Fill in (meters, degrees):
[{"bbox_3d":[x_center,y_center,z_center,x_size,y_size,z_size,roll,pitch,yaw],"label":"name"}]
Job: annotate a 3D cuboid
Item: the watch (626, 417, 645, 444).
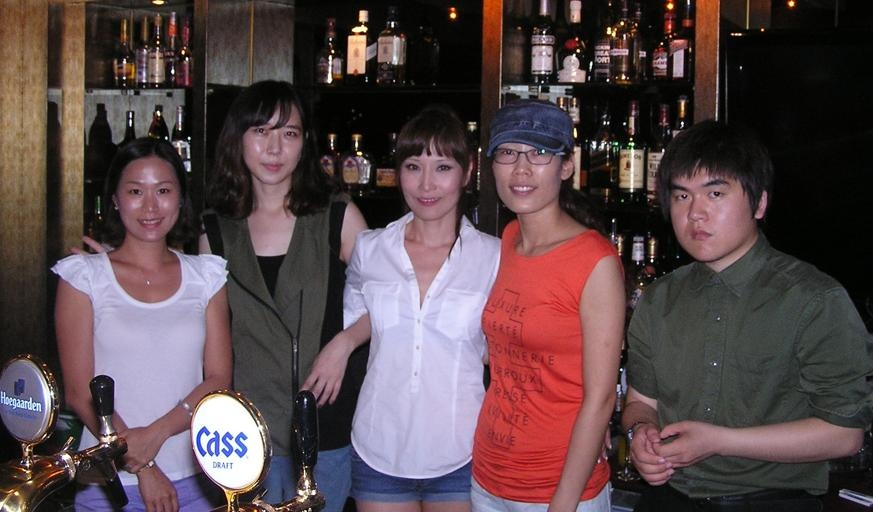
[{"bbox_3d":[0.725,0.654,2.720,0.041,0.088,0.070,19,8,19],"label":"watch"}]
